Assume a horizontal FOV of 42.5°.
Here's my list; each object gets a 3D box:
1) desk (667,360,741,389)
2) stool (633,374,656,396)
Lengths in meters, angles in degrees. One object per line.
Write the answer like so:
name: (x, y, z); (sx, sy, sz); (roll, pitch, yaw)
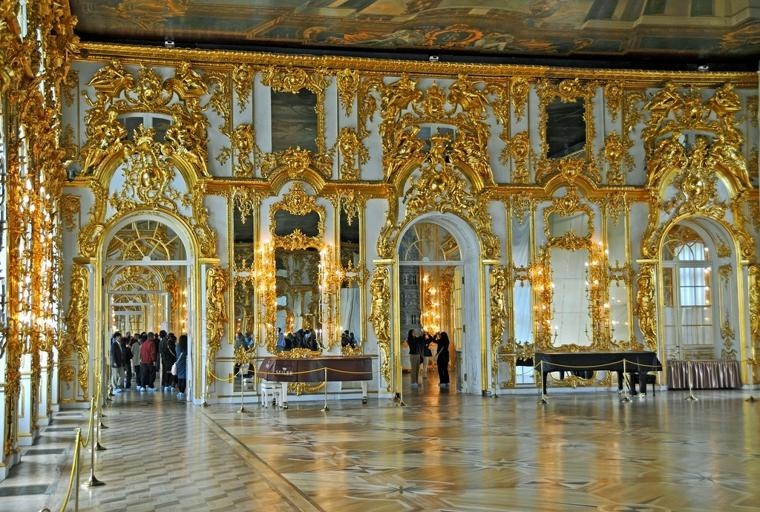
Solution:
desk: (9.402, 3.458, 28.533); (2.234, 0.829, 0.446); (2, -10, -15)
stool: (7.298, 3.574, 27.153); (0.578, 0.688, 0.568); (1, -18, -4)
